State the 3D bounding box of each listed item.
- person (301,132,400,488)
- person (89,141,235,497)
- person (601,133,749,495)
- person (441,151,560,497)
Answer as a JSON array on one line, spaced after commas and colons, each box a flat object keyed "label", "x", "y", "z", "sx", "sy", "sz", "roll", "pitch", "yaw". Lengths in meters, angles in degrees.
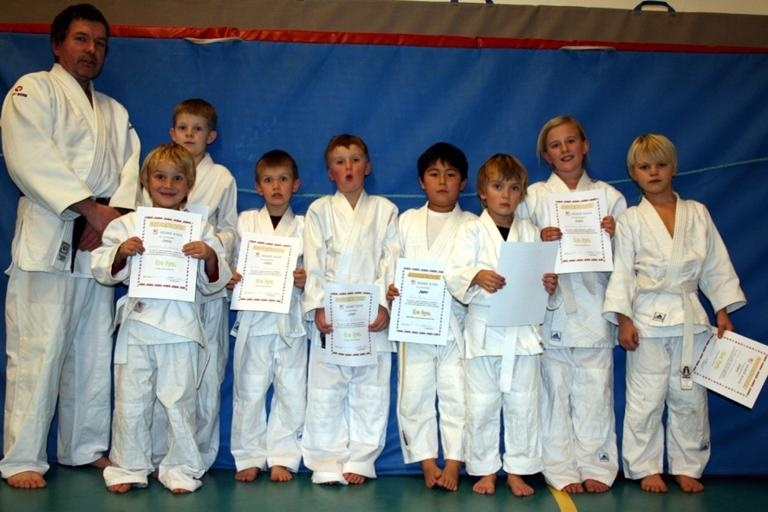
[{"label": "person", "x": -0.250, "y": 0.361, "z": 5.651, "sx": 0.687, "sy": 2.513, "sz": 0.513, "roll": 1, "pitch": -14, "yaw": -5}, {"label": "person", "x": -1.570, "y": 0.428, "z": 5.423, "sx": 0.914, "sy": 2.361, "sz": 0.716, "roll": 2, "pitch": -14, "yaw": -10}, {"label": "person", "x": 2.067, "y": 0.395, "z": 5.648, "sx": 0.901, "sy": 2.539, "sz": 0.599, "roll": -4, "pitch": -14, "yaw": 15}, {"label": "person", "x": 0.842, "y": 0.457, "z": 5.494, "sx": 0.753, "sy": 2.386, "sz": 0.583, "roll": -4, "pitch": -14, "yaw": 12}]
